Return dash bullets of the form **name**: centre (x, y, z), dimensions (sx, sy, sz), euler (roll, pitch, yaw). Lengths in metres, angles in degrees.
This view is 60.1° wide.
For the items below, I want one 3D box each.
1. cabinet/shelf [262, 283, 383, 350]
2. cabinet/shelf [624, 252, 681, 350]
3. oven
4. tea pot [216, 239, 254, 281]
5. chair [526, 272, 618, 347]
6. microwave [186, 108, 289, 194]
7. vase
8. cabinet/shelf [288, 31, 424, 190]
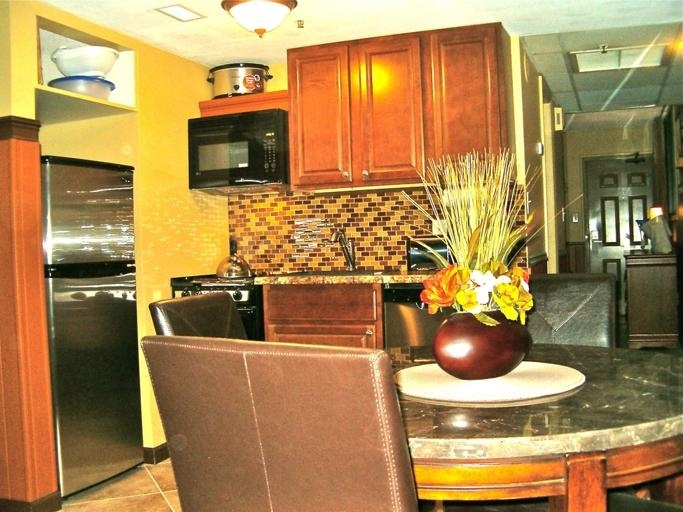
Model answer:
- **cabinet/shelf**: centre (-0.092, 0.380, 3.883), dimensions (0.724, 0.583, 0.458), euler (-1, -5, 17)
- **cabinet/shelf**: centre (3.419, 0.505, 6.533), dimensions (0.509, 1.034, 0.285), euler (-4, 3, 25)
- **oven**: centre (-0.869, 0.432, 4.014), dimensions (0.425, 0.481, 0.360), euler (1, -7, -37)
- **tea pot**: centre (-0.795, 0.055, 4.461), dimensions (0.309, 0.284, 0.302), euler (-1, -12, 0)
- **chair**: centre (1.019, 0.221, 2.743), dimensions (0.449, 0.284, 0.613), euler (2, 3, 26)
- **microwave**: centre (-0.687, -0.697, 4.464), dimensions (1.037, 0.591, 0.531), euler (-2, -6, 18)
- **vase**: centre (0.391, 0.247, 1.672), dimensions (0.206, 0.130, 0.232), euler (-2, -2, 12)
- **cabinet/shelf**: centre (0.137, -1.000, 4.005), dimensions (1.325, 1.047, 0.606), euler (-1, 0, 19)
